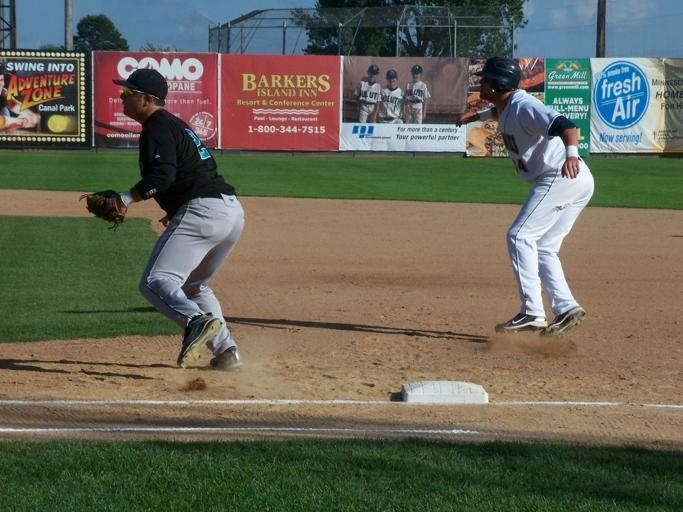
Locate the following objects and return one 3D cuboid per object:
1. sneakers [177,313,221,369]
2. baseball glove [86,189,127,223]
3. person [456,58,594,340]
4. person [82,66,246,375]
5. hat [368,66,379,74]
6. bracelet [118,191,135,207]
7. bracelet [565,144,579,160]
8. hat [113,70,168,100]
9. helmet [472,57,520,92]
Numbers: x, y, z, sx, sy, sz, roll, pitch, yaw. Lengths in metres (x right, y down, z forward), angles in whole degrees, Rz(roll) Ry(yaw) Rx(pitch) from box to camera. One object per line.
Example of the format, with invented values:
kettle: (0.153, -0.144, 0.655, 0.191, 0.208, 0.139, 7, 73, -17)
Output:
sneakers: (-1.242, 0.743, 10.737, 0.258, 0.551, 0.187, 35, -14, 46)
baseball glove: (-2.041, -0.434, 10.733, 0.396, 0.244, 0.181, 12, -6, 22)
person: (1.899, -0.578, 12.008, 1.022, 2.730, 0.998, -2, 10, -9)
person: (-1.521, -0.354, 10.743, 1.066, 2.556, 0.736, 4, 11, 22)
hat: (0.860, -4.945, 32.456, 0.270, 0.187, 0.251, 2, 28, 0)
bracelet: (-1.853, -0.496, 10.565, 0.122, 0.135, 0.215, -2, 10, -11)
bracelet: (2.223, -0.987, 11.606, 0.133, 0.115, 0.121, -1, -2, -12)
hat: (-1.751, -1.517, 10.660, 0.433, 0.188, 0.270, 10, 12, -13)
helmet: (1.527, -1.792, 11.956, 0.462, 0.254, 0.296, -3, 30, -2)
